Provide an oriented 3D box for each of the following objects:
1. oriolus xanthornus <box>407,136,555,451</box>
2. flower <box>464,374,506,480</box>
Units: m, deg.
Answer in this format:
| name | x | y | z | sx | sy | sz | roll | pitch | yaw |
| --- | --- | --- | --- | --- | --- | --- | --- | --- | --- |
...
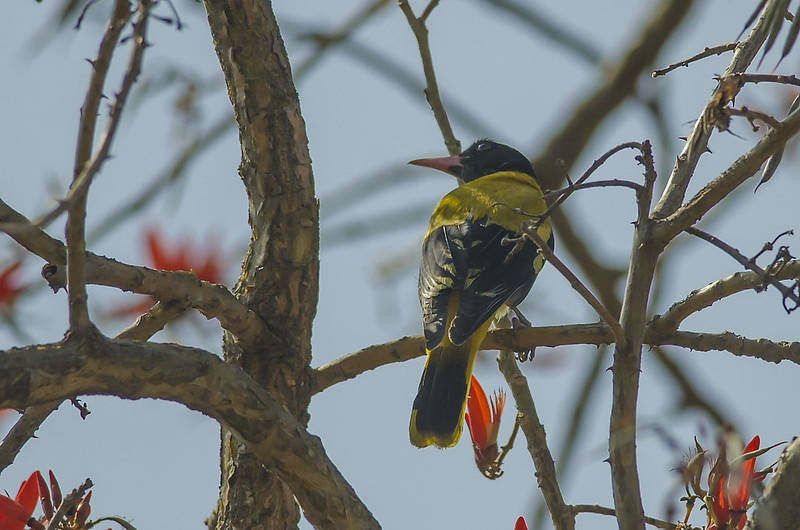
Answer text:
| name | x | y | z | sx | sy | sz | roll | pitch | yaw |
| --- | --- | --- | --- | --- | --- | --- | --- | --- | --- |
| oriolus xanthornus | 0.328 | -0.052 | 6.438 | 0.664 | 2.152 | 0.619 | 9 | -51 | -1 |
| flower | 0.331 | 0.610 | 5.672 | 0.158 | 0.137 | 0.487 | -8 | -60 | -3 |
